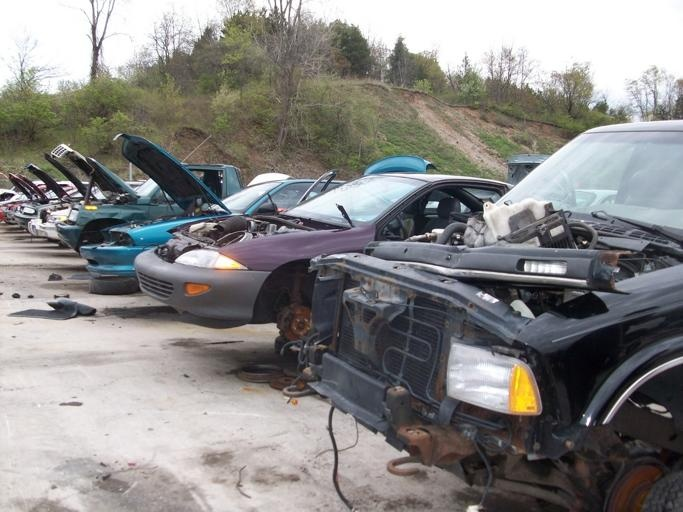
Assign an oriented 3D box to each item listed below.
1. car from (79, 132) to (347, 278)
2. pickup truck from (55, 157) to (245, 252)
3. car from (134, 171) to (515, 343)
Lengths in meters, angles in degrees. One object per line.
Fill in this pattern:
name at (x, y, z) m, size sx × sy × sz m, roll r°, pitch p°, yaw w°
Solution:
car at (-2.694, -0.599, 8.104) m, size 5.751 × 1.999 × 2.149 m, roll -2°, pitch 5°, yaw -19°
pickup truck at (-3.621, -1.028, 10.474) m, size 4.049 × 1.438 × 2.214 m, roll -8°, pitch 12°, yaw -22°
car at (0.130, -0.091, 5.596) m, size 4.316 × 1.033 × 1.959 m, roll -2°, pitch 5°, yaw -23°
